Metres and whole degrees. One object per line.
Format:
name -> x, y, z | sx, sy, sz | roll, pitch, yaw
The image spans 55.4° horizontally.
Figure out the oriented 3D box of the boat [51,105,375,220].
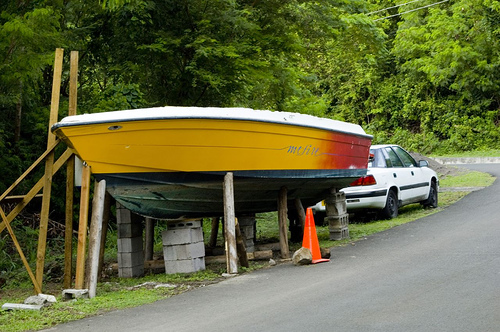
boat -> -0.460, 0.007, 10.369 | 7.253, 1.820, 3.423 | 0, -5, -39
